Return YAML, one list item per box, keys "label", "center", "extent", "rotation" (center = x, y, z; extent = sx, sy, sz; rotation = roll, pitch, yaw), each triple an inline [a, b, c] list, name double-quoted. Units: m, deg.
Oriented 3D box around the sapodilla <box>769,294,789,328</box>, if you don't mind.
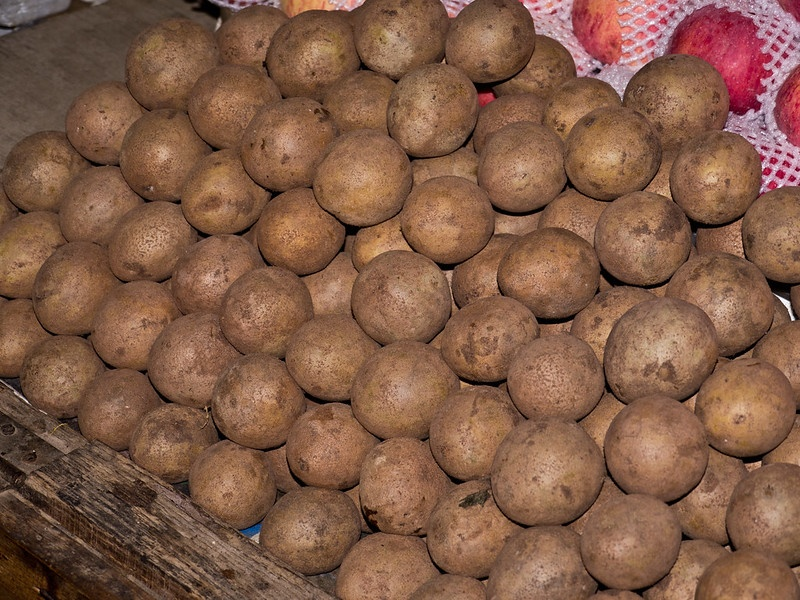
- label: "sapodilla"
  center: [2.389, 0.068, 5.255]
  extent: [0.140, 0.091, 0.165]
  rotation: [0, 57, -34]
